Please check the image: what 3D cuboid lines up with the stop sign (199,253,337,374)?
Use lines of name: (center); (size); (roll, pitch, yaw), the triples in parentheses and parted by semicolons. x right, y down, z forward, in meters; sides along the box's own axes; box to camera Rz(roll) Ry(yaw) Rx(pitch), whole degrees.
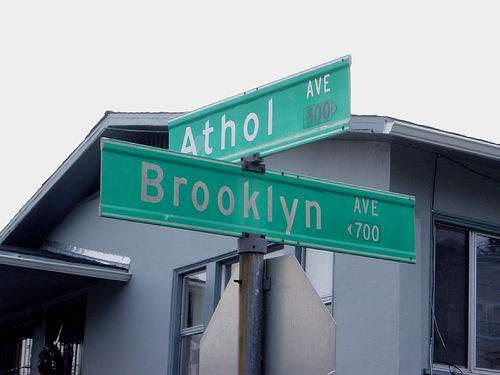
stop sign: (0.128, 0.913, 4.973); (0.938, 0.825, 0.348); (0, -19, 1)
